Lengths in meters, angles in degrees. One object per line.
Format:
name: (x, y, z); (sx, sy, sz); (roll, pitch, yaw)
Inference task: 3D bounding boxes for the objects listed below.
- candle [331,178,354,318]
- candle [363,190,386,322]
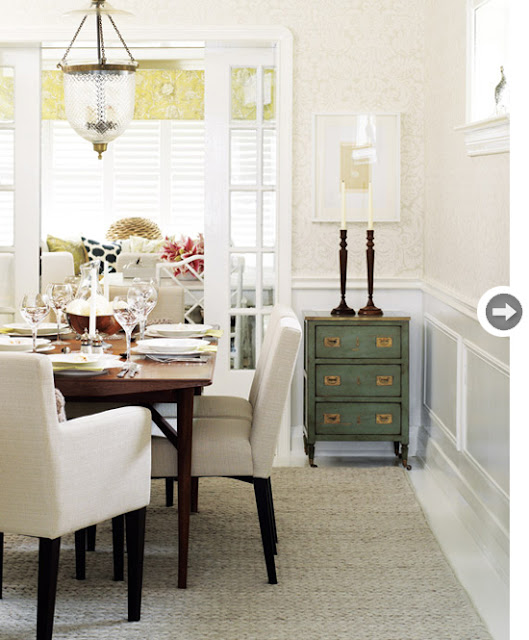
candle: (0.449, -0.410, 3.460); (0.128, 0.770, 0.359); (1, 4, 7)
candle: (0.613, -0.410, 3.474); (0.122, 0.770, 0.341); (1, 4, 10)
